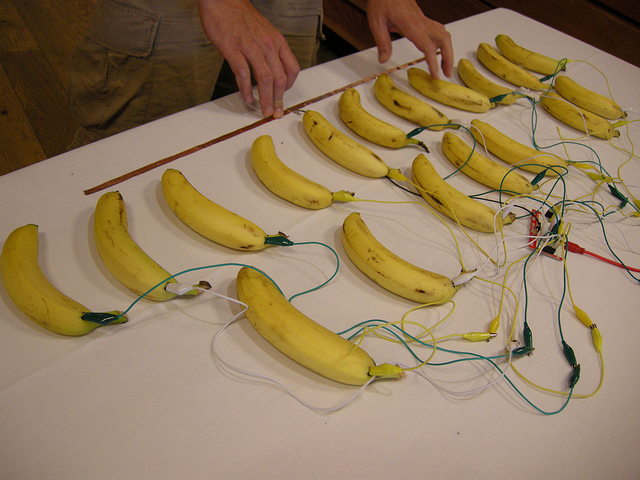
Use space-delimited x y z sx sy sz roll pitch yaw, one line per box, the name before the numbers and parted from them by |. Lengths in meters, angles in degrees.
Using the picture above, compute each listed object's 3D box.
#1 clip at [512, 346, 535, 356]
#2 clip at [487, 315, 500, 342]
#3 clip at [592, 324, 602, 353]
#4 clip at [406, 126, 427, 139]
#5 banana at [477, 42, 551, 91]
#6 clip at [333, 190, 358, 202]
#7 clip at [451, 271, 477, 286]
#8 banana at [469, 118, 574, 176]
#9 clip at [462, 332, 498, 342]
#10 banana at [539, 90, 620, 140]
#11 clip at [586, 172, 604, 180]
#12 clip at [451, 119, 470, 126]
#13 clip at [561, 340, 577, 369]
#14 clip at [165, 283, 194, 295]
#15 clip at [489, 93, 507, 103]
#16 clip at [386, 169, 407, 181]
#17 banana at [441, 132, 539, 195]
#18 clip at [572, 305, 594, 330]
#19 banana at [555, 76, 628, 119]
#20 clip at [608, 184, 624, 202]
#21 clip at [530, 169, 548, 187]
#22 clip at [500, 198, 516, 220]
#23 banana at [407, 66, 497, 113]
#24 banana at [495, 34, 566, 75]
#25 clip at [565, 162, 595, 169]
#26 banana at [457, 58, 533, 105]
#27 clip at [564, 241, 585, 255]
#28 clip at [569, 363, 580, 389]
clip | 0.528 0.289 1.486 0.042 0.013 0.016 -11 35 -28
clip | 0.462 0.226 1.512 0.019 0.024 0.103 23 59 1
clip | 0.748 0.266 1.540 0.018 0.024 0.066 -6 72 -18
clip | 0.314 -0.350 1.851 0.080 0.023 0.015 -33 13 -14
banana | 0.720 -0.649 2.145 0.265 0.083 0.089 41 22 6
clip | 0.074 -0.135 1.643 0.088 0.032 0.035 -7 9 -37
clip | 0.394 0.107 1.568 0.046 0.017 0.015 -29 92 -18
banana | 0.655 -0.304 1.883 0.259 0.062 0.091 32 58 20
clip | 0.415 0.253 1.493 0.073 0.026 0.017 3 6 -14
banana | 0.921 -0.441 2.031 0.214 0.072 0.069 38 1 22
clip | 0.900 -0.210 1.863 0.053 0.023 0.011 30 41 8
clip | 0.475 -0.403 1.943 0.058 0.019 0.021 19 7 12
clip | 0.658 0.302 1.504 0.018 0.020 0.067 7 52 -38
clip | -0.358 0.121 1.432 0.079 0.032 0.021 4 0 8
clip | 0.623 -0.497 1.997 0.068 0.025 0.022 -20 96 -23
clip | 0.228 -0.197 1.724 0.055 0.019 0.013 24 34 23
banana | 0.518 -0.233 1.798 0.341 0.108 0.098 35 77 18
clip | 0.726 0.214 1.568 0.021 0.025 0.079 -28 73 -10
banana | 0.993 -0.523 2.100 0.241 0.071 0.076 38 19 13
clip | 0.954 -0.156 1.845 0.019 0.015 0.084 -8 48 -6
clip | 0.699 -0.200 1.816 0.013 0.025 0.068 27 61 24
clip | 0.560 -0.091 1.697 0.017 0.018 0.066 27 65 16
banana | 0.456 -0.511 2.008 0.347 0.118 0.100 26 44 24
banana | 0.795 -0.708 2.220 0.287 0.104 0.084 32 0 19
clip | 0.858 -0.249 1.890 0.074 0.017 0.024 3 56 2
banana | 0.629 -0.570 2.064 0.234 0.060 0.087 34 61 14
clip | 0.753 0.023 1.690 0.042 0.014 0.012 32 35 7
clip | 0.666 0.348 1.487 0.017 0.019 0.071 38 60 -36
